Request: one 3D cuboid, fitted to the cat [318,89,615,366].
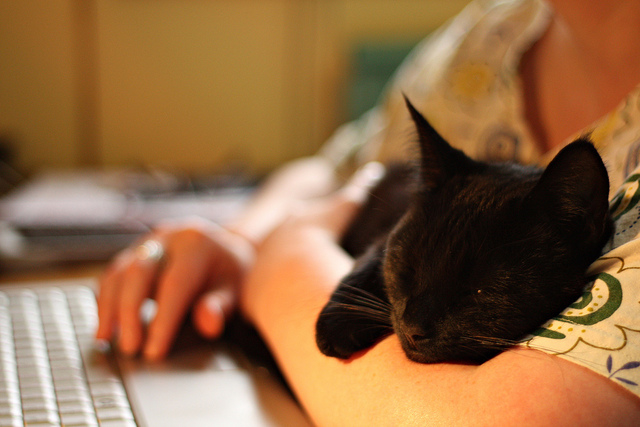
[{"bbox_3d":[0.146,-0.003,0.553,0.148,0.181,0.235,24,34,32],"label":"cat"}]
